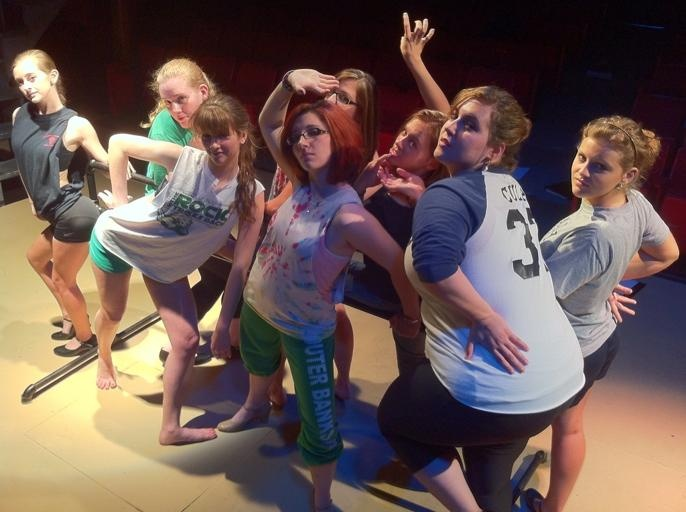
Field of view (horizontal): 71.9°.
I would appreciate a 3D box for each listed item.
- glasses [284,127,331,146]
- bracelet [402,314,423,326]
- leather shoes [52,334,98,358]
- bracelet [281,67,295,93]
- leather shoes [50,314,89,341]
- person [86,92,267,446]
[{"bbox_3d":[-0.142,-0.436,1.736,0.163,0.087,0.060,20,21,29],"label":"glasses"},{"bbox_3d":[0.274,0.261,1.911,0.050,0.014,0.041,21,-27,-25],"label":"bracelet"},{"bbox_3d":[-1.629,0.550,2.913,0.238,0.067,0.110,-7,36,-16],"label":"leather shoes"},{"bbox_3d":[-0.242,-0.731,1.996,0.045,0.077,0.083,-4,-2,7],"label":"bracelet"},{"bbox_3d":[-1.792,0.457,3.159,0.107,0.153,0.369,4,3,5],"label":"leather shoes"},{"bbox_3d":[-0.875,0.019,2.300,0.754,1.721,0.487,15,19,2],"label":"person"}]
